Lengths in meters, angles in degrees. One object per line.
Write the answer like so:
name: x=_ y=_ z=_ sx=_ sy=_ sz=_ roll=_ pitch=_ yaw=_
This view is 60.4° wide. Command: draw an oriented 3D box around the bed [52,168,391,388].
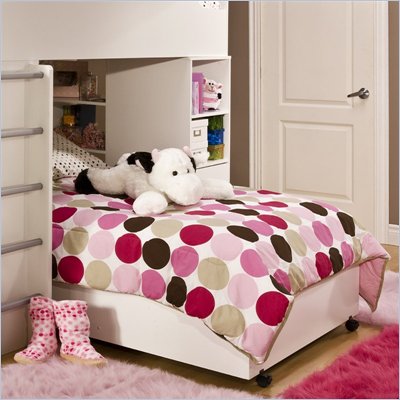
bed: x=0.066 y=0.219 z=1.356 sx=1.118 sy=0.549 sz=0.767 roll=4 pitch=10 yaw=31

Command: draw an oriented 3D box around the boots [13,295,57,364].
boots: x=-0.646 y=0.513 z=1.335 sx=0.095 sy=0.235 sz=0.223 roll=-7 pitch=-10 yaw=3

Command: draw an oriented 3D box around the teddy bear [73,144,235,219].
teddy bear: x=-0.279 y=-0.092 z=1.678 sx=0.516 sy=0.255 sz=0.453 roll=4 pitch=6 yaw=36

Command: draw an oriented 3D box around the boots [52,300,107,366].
boots: x=-0.465 y=0.506 z=1.328 sx=0.201 sy=0.225 sz=0.103 roll=8 pitch=1 yaw=17

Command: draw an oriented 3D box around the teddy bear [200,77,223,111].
teddy bear: x=0.081 y=-0.862 z=2.855 sx=0.171 sy=0.257 sz=0.117 roll=8 pitch=0 yaw=2
